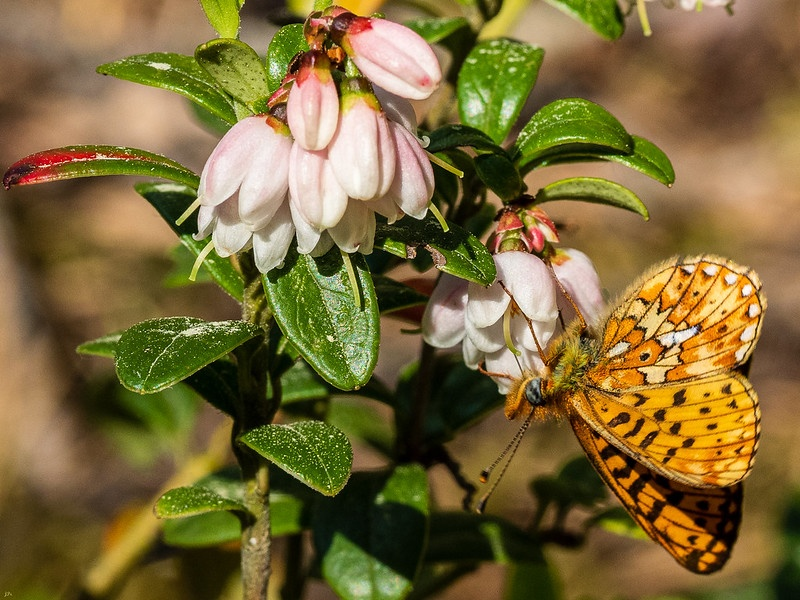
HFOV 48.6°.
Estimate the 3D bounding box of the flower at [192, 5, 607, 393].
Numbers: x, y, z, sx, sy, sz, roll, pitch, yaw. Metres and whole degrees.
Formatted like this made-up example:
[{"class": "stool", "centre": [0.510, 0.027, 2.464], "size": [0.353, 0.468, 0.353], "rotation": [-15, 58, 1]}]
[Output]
[{"class": "flower", "centre": [-0.019, -0.289, 2.167], "size": [0.701, 0.613, 0.592], "rotation": [-3, 20, 26]}]
